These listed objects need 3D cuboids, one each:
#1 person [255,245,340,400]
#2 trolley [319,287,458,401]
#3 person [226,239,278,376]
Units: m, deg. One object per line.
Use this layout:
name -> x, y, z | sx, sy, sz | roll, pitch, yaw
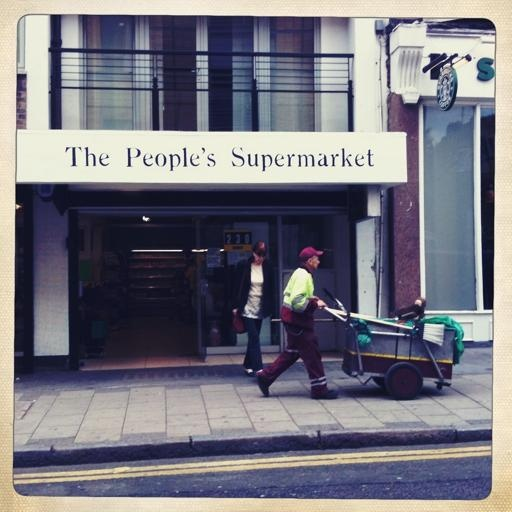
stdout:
person -> 0.500, 0.849, 11.116 | 0.936, 1.884, 0.853 | -1, 3, 1
trolley -> 1.642, 1.077, 11.414 | 1.549, 1.271, 1.191 | -1, 0, -4
person -> -0.076, 0.742, 12.242 | 0.614, 1.787, 0.648 | 0, -1, -11
